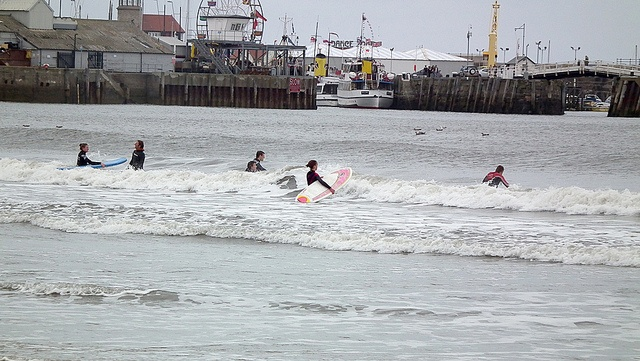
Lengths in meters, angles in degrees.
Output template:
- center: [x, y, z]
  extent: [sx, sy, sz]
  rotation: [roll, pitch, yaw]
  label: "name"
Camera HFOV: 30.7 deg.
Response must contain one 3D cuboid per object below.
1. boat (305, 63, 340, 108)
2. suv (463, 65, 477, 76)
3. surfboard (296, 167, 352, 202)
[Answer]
- center: [0.656, -9.966, 132.524]
  extent: [2.370, 3.299, 3.488]
  rotation: [4, 7, 0]
  label: "boat"
- center: [15.605, -11.559, 123.144]
  extent: [1.584, 0.920, 2.208]
  rotation: [1, 6, 6]
  label: "suv"
- center: [0.060, 0.326, 60.858]
  extent: [3.706, 1.053, 0.318]
  rotation: [-34, 2, -27]
  label: "surfboard"
